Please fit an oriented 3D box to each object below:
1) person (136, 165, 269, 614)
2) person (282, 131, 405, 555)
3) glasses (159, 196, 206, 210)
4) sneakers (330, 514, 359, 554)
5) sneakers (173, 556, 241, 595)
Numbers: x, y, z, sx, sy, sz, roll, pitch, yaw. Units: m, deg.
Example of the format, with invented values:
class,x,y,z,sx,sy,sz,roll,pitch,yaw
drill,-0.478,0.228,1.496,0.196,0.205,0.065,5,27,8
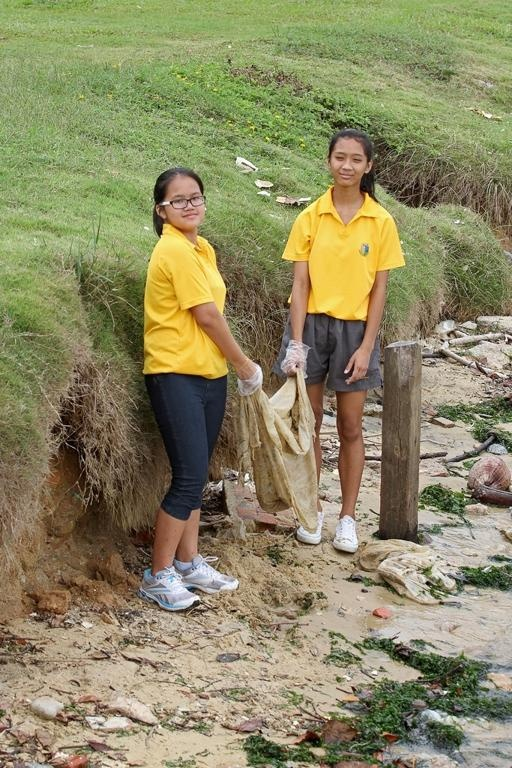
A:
class,x,y,z,sx,sy,sz,roll,pitch,yaw
person,-0.346,0.041,4.192,0.469,2.202,0.553,9,16,32
person,0.493,-0.207,4.912,0.680,2.485,0.438,1,14,2
glasses,-0.370,-0.893,4.081,0.222,0.070,0.123,-2,12,-8
sneakers,0.549,0.924,5.005,0.115,0.101,0.268,2,6,2
sneakers,-0.268,1.031,4.489,0.419,0.185,0.141,13,22,-9
